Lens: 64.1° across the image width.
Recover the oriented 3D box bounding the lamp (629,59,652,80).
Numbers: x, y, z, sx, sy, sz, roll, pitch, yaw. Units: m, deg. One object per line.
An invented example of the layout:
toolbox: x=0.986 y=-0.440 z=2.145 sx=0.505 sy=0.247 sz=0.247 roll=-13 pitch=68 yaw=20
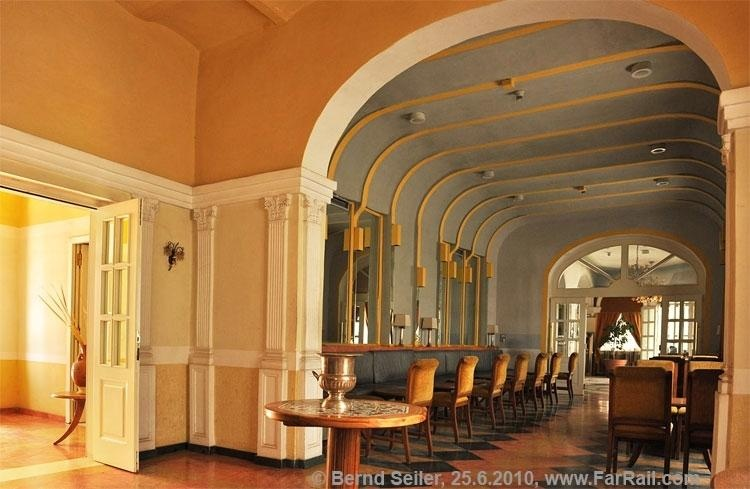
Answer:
lamp: x=4.054 y=-2.638 z=9.175 sx=0.370 sy=0.186 sz=0.291 roll=-9 pitch=-16 yaw=35

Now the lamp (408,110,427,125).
lamp: x=0.812 y=-2.246 z=10.763 sx=0.221 sy=0.050 sz=0.224 roll=29 pitch=42 yaw=31

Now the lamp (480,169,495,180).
lamp: x=2.611 y=-1.606 z=13.912 sx=0.252 sy=0.156 sz=0.183 roll=-2 pitch=-7 yaw=28

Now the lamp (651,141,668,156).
lamp: x=5.683 y=-1.894 z=11.981 sx=0.250 sy=0.135 sz=0.250 roll=-3 pitch=-5 yaw=34

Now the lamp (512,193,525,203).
lamp: x=3.816 y=-1.212 z=15.905 sx=0.202 sy=0.186 sz=0.377 roll=-1 pitch=-4 yaw=37
